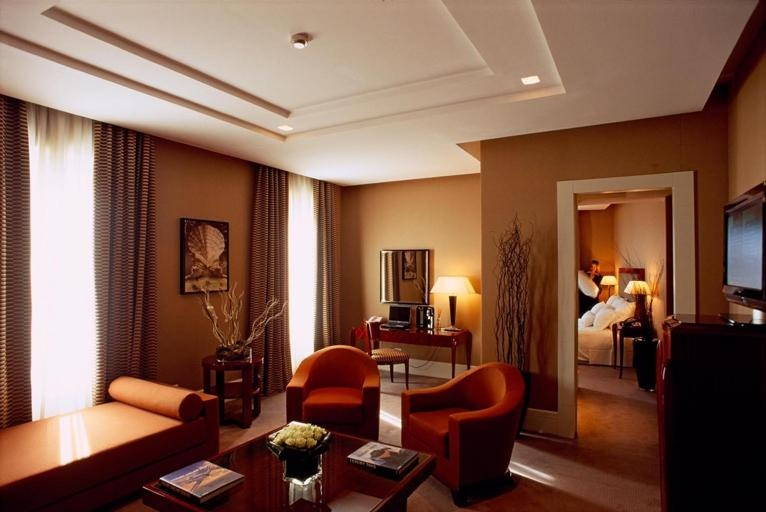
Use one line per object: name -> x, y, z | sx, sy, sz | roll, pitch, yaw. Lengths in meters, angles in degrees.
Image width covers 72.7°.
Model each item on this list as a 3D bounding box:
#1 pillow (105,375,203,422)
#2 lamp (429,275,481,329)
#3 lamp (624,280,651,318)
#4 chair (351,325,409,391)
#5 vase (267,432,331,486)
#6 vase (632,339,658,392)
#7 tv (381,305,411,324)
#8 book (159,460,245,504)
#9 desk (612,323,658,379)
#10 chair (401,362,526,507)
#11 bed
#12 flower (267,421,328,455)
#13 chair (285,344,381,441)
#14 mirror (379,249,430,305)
pillow -> -2.279, 1.365, 5.149 | 0.894, 0.221, 0.279 | 4, 18, 22
lamp -> 1.033, 0.706, 7.425 | 0.777, 1.000, 0.678 | -4, -10, 37
lamp -> 3.781, 0.659, 7.708 | 0.329, 0.520, 0.853 | 4, 8, 27
chair -> -0.011, 1.359, 7.233 | 0.752, 0.950, 0.756 | -1, -3, 14
vase -> -0.657, 1.612, 4.106 | 0.428, 0.224, 0.428 | 4, -2, 27
vase -> 3.551, 1.438, 6.953 | 0.388, 0.607, 0.381 | -4, -20, 35
tv -> 0.237, 0.879, 7.700 | 0.381, 0.213, 0.202 | 4, 7, 22
book -> -1.338, 1.674, 3.864 | 0.303, 0.063, 0.293 | 6, 4, 35
desk -> 3.621, 1.312, 7.532 | 0.472, 0.542, 0.439 | 7, -7, 27
chair -> 0.729, 1.505, 4.992 | 1.081, 1.103, 1.162 | 2, -5, -26
bed -> 3.673, 1.104, 8.631 | 1.270, 1.828, 2.373 | 1, -2, 18
flower -> -0.679, 1.416, 4.049 | 0.259, 0.081, 0.244 | 1, 4, 19
chair -> -0.490, 1.532, 5.597 | 0.981, 0.914, 0.939 | 0, 0, 6
mirror -> 0.351, 0.324, 7.886 | 0.845, 0.856, 0.061 | 0, -4, 25
